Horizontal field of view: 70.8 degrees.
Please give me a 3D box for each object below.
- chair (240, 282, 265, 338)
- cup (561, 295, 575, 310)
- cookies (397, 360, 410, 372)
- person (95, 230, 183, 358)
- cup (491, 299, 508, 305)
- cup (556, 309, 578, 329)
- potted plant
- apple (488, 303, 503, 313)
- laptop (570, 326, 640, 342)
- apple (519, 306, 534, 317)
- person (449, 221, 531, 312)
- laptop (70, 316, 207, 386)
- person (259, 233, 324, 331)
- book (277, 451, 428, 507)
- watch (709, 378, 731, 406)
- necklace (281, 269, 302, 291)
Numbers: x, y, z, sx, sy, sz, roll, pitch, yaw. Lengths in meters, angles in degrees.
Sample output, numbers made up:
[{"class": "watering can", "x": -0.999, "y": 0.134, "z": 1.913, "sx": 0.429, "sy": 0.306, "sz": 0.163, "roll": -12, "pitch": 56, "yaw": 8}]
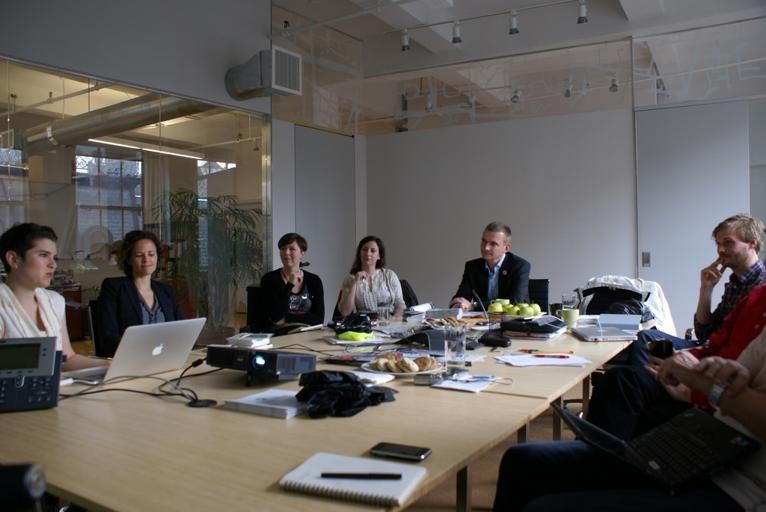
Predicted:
[{"class": "chair", "x": -1.147, "y": 0.465, "z": 4.640, "sx": 0.266, "sy": 0.420, "sz": 0.250, "roll": -2, "pitch": -2, "yaw": -1}, {"class": "cup", "x": 1.380, "y": 0.341, "z": 3.979, "sx": 0.098, "sy": 0.102, "sz": 0.124, "roll": 1, "pitch": -6, "yaw": -1}, {"class": "cookies", "x": 0.100, "y": 0.509, "z": 2.498, "sx": 0.055, "sy": 0.020, "sz": 0.053, "roll": 1, "pitch": 8, "yaw": -15}, {"class": "person", "x": -1.625, "y": 0.285, "z": 3.679, "sx": 0.616, "sy": 0.863, "sz": 0.593, "roll": -9, "pitch": -9, "yaw": 35}, {"class": "cup", "x": 0.880, "y": 0.344, "z": 4.040, "sx": 0.082, "sy": 0.053, "sz": 0.053, "roll": 0, "pitch": -1, "yaw": 13}, {"class": "cup", "x": 1.257, "y": 0.420, "z": 3.661, "sx": 0.110, "sy": 0.109, "sz": 0.138, "roll": 0, "pitch": -5, "yaw": -4}, {"class": "potted plant", "x": -1.988, "y": 0.149, "z": 5.846, "sx": 1.211, "sy": 1.676, "sz": 1.449, "roll": 0, "pitch": -2, "yaw": 24}, {"class": "apple", "x": 0.833, "y": 0.385, "z": 3.995, "sx": 0.094, "sy": 0.073, "sz": 0.089, "roll": 0, "pitch": 5, "yaw": 20}, {"class": "laptop", "x": 1.318, "y": 0.461, "z": 3.206, "sx": 0.397, "sy": 0.056, "sz": 0.539, "roll": 0, "pitch": -2, "yaw": 0}, {"class": "apple", "x": 0.985, "y": 0.382, "z": 3.702, "sx": 0.071, "sy": 0.066, "sz": 0.070, "roll": -4, "pitch": 1, "yaw": -40}, {"class": "person", "x": 0.919, "y": 0.083, "z": 4.602, "sx": 0.594, "sy": 0.714, "sz": 0.794, "roll": 0, "pitch": 5, "yaw": 19}, {"class": "laptop", "x": -1.119, "y": 0.388, "z": 2.553, "sx": 0.364, "sy": 0.220, "sz": 0.384, "roll": 3, "pitch": -1, "yaw": 30}, {"class": "person", "x": -0.792, "y": 0.217, "z": 4.538, "sx": 0.549, "sy": 0.797, "sz": 0.474, "roll": 5, "pitch": -9, "yaw": -41}, {"class": "book", "x": -0.088, "y": 0.688, "z": 1.657, "sx": 0.418, "sy": 0.074, "sz": 0.175, "roll": 0, "pitch": 4, "yaw": 16}, {"class": "watch", "x": 1.246, "y": 0.511, "z": 1.995, "sx": 0.080, "sy": 0.087, "sz": 0.053, "roll": 1, "pitch": 3, "yaw": -40}, {"class": "necklace", "x": -0.740, "y": 0.203, "z": 4.469, "sx": 0.124, "sy": 0.060, "sz": 0.197, "roll": 6, "pitch": 12, "yaw": -31}]
